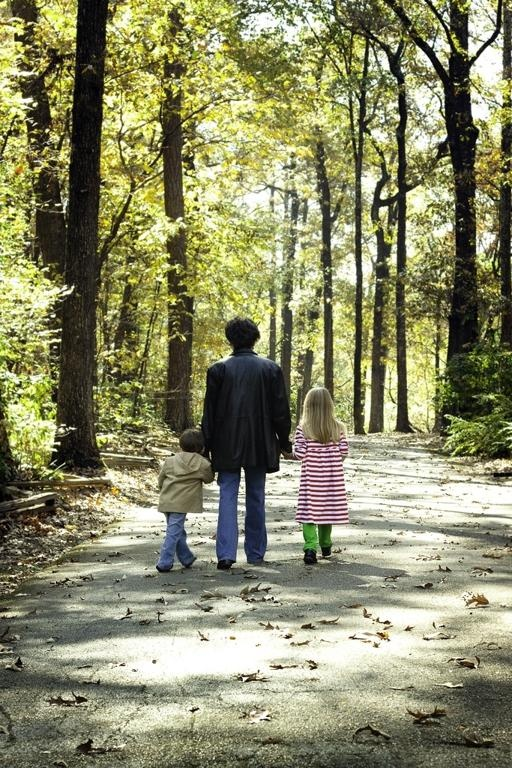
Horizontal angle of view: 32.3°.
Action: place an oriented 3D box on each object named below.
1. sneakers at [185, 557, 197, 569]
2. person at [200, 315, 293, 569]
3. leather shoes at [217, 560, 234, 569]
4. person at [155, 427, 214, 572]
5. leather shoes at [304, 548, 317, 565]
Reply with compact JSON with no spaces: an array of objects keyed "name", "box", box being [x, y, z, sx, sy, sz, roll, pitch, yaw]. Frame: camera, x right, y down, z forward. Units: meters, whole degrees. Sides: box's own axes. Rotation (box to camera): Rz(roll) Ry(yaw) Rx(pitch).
[{"name":"sneakers","box":[-0.543,1.456,7.209,0.039,0.051,0.120,1,16,5]},{"name":"person","box":[-0.090,0.458,7.187,0.740,2.012,0.525,0,-1,-8]},{"name":"leather shoes","box":[-0.256,1.414,6.937,0.112,0.082,0.119,-1,-1,-7]},{"name":"person","box":[-0.585,0.929,7.075,0.461,1.123,0.573,-1,-1,-7]},{"name":"leather shoes","box":[0.430,1.396,7.165,0.072,0.089,0.193,0,-16,6]}]
